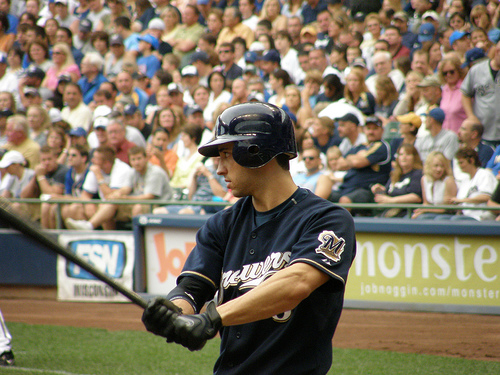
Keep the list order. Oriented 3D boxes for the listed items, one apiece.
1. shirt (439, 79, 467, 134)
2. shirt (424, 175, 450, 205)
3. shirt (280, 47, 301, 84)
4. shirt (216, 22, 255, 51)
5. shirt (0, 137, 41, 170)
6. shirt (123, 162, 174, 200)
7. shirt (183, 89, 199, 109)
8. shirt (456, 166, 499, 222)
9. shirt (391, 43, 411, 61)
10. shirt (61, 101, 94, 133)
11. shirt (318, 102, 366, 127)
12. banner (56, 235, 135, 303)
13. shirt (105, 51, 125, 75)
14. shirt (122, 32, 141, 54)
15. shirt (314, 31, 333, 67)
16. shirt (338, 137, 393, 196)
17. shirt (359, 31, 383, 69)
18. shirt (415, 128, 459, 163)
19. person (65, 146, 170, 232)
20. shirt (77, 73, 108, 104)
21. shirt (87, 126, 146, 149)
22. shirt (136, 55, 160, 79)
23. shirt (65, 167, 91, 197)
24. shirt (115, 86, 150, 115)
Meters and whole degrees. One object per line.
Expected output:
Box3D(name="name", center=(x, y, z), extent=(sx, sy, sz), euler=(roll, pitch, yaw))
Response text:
Box3D(name="shirt", center=(2.663, -1.032, 18.971), extent=(0.272, 0.574, 0.532), euler=(12, -20, -30))
Box3D(name="shirt", center=(2.400, 0.051, 18.717), extent=(0.079, 0.368, 0.360), euler=(6, -6, -42))
Box3D(name="shirt", center=(0.612, -1.817, 21.146), extent=(0.325, 0.705, 0.609), euler=(0, -4, -1))
Box3D(name="shirt", center=(-0.231, -2.293, 21.883), extent=(0.639, 0.467, 0.268), euler=(1, -5, 23))
Box3D(name="shirt", center=(-3.210, -0.446, 20.317), extent=(0.489, 0.275, 0.336), euler=(17, 30, -15))
Box3D(name="shirt", center=(-1.393, -0.072, 19.829), extent=(0.786, 0.668, 0.716), euler=(0, 8, -10))
Box3D(name="shirt", center=(-0.873, -1.298, 21.197), extent=(0.189, 0.362, 0.669), euler=(3, -5, -9))
Box3D(name="shirt", center=(2.901, 0.116, 18.398), extent=(0.459, 0.559, 0.314), euler=(20, -14, -19))
Box3D(name="shirt", center=(2.064, -1.850, 19.814), extent=(0.106, 0.188, 0.190), euler=(32, -2, -37))
Box3D(name="shirt", center=(-2.473, -1.023, 21.005), extent=(0.378, 0.511, 0.661), euler=(6, -6, -41))
Box3D(name="shirt", center=(1.259, -1.030, 19.841), extent=(0.479, 0.203, 0.349), euler=(5, 3, 35))
Box3D(name="banner", center=(-1.840, 1.004, 17.144), extent=(0.711, 0.678, 0.080), euler=(-1, -4, -5))
Box3D(name="shirt", center=(-2.038, -1.879, 21.840), extent=(0.303, 0.368, 0.270), euler=(2, -4, 10))
Box3D(name="shirt", center=(-1.802, -2.195, 22.115), extent=(0.247, 0.264, 0.141), euler=(-12, -14, -10))
Box3D(name="shirt", center=(1.073, -2.024, 20.823), extent=(0.264, 0.490, 0.338), euler=(-4, -10, -1))
Box3D(name="shirt", center=(1.596, -0.250, 19.510), extent=(0.530, 0.995, 0.750), euler=(15, 4, -2))
Box3D(name="shirt", center=(1.639, -2.007, 20.279), extent=(0.239, 0.280, 0.322), euler=(39, -4, 46))
Box3D(name="shirt", center=(2.435, -0.545, 18.964), extent=(0.541, 0.459, 0.278), euler=(2, -1, 33))
Box3D(name="person", center=(-1.724, 0.098, 19.445), extent=(1.539, 1.235, 0.757), euler=(-10, 8, -38))
Box3D(name="shirt", center=(-2.363, -1.440, 21.512), extent=(0.411, 0.435, 0.232), euler=(19, 13, 28))
Box3D(name="shirt", center=(-1.789, -0.722, 20.294), extent=(0.547, 0.431, 0.219), euler=(6, 39, -44))
Box3D(name="shirt", center=(-1.533, -1.819, 21.892), extent=(0.259, 0.388, 0.393), euler=(7, -6, -43))
Box3D(name="shirt", center=(-2.401, -0.110, 19.930), extent=(0.314, 0.456, 0.243), euler=(-2, 34, -27))
Box3D(name="shirt", center=(-1.721, -1.251, 21.032), extent=(0.335, 0.383, 0.203), euler=(15, -21, 49))
